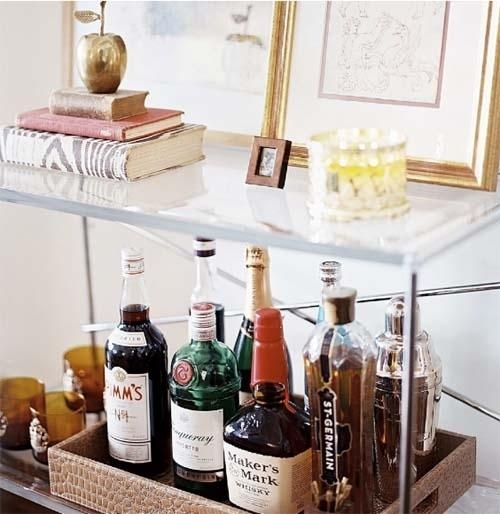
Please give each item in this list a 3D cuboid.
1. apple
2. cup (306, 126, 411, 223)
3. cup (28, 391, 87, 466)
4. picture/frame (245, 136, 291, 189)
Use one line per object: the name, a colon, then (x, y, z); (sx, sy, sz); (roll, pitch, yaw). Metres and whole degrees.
apple: (-0.198, -0.275, 0.767); (0.058, 0.141, 0.154); (-1, 5, -17)
cup: (0.096, -0.078, 0.532); (0.082, 0.090, 0.088); (0, 5, 0)
cup: (-0.280, 0.254, 0.873); (0.087, 0.090, 0.086); (1, 8, 0)
picture/frame: (0.021, -0.104, 0.645); (0.054, 0.053, 0.014); (14, 7, 33)
